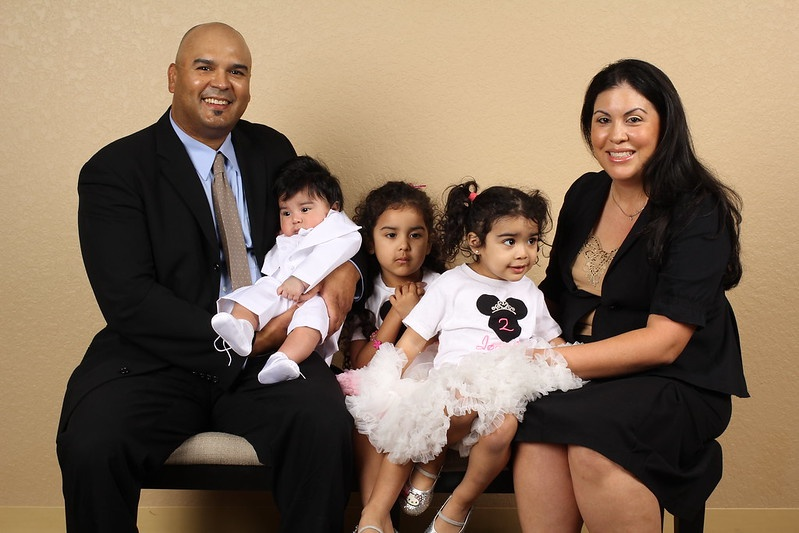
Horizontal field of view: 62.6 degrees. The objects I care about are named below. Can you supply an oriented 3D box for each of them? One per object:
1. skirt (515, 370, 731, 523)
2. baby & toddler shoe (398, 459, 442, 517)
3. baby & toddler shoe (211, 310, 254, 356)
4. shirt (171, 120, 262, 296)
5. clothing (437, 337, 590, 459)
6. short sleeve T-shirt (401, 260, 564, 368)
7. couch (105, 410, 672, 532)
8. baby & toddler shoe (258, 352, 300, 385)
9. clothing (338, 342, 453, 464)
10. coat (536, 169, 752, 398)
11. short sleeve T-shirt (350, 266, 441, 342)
[{"bbox_3d":[0.946,0.743,2.687,0.904,0.518,0.288,3,15,-4],"label":"skirt"},{"bbox_3d":[0.096,0.962,2.887,0.137,0.129,0.367,18,17,11],"label":"baby & toddler shoe"},{"bbox_3d":[-0.701,0.288,2.834,0.091,0.229,0.127,-21,35,35],"label":"baby & toddler shoe"},{"bbox_3d":[-0.918,-0.269,3.311,0.480,0.816,0.195,-11,2,-23],"label":"shirt"},{"bbox_3d":[0.444,0.496,2.750,0.503,0.205,0.458,-8,48,23],"label":"clothing"},{"bbox_3d":[0.429,0.248,3.091,0.730,0.489,0.328,3,12,-6],"label":"short sleeve T-shirt"},{"bbox_3d":[-0.007,0.853,2.765,1.347,0.370,0.662,0,-25,1],"label":"couch"},{"bbox_3d":[-0.511,0.440,2.820,0.112,0.074,0.184,10,-19,-19],"label":"baby & toddler shoe"},{"bbox_3d":[-0.117,0.539,2.911,0.195,0.318,0.426,-26,34,41],"label":"clothing"},{"bbox_3d":[1.090,0.039,3.147,0.632,0.914,1.026,-10,15,-34],"label":"coat"},{"bbox_3d":[-0.057,0.296,3.501,0.204,0.608,0.486,-20,2,-10],"label":"short sleeve T-shirt"}]
